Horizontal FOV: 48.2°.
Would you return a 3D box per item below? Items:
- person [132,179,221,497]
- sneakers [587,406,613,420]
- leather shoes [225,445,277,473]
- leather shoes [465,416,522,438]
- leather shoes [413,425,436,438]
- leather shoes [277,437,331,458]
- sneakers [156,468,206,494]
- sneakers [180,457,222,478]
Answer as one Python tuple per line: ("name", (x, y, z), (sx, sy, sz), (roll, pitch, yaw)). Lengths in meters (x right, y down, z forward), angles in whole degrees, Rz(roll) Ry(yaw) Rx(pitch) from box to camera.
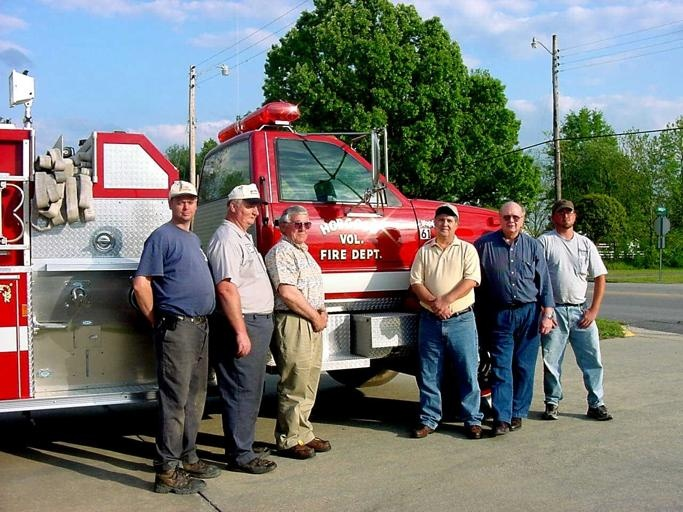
("person", (-1.389, 0.659, 6.416), (0.586, 2.563, 0.524), (0, 5, 7))
("sneakers", (2.688, 1.650, 8.027), (0.105, 0.121, 0.281), (3, -7, -38))
("leather shoes", (-0.777, 1.801, 6.754), (0.531, 0.201, 0.179), (0, 1, -3))
("leather shoes", (1.551, 1.709, 7.614), (0.590, 0.226, 0.193), (8, -11, -28))
("leather shoes", (0.804, 1.731, 7.531), (0.256, 0.099, 0.088), (11, -16, -37))
("leather shoes", (-0.324, 1.759, 7.067), (0.516, 0.196, 0.168), (-6, 3, -9))
("sneakers", (-1.312, 1.857, 6.339), (0.421, 0.197, 0.178), (1, 0, -8))
("sneakers", (-1.216, 1.836, 6.631), (0.331, 0.136, 0.134), (2, 2, -10))
